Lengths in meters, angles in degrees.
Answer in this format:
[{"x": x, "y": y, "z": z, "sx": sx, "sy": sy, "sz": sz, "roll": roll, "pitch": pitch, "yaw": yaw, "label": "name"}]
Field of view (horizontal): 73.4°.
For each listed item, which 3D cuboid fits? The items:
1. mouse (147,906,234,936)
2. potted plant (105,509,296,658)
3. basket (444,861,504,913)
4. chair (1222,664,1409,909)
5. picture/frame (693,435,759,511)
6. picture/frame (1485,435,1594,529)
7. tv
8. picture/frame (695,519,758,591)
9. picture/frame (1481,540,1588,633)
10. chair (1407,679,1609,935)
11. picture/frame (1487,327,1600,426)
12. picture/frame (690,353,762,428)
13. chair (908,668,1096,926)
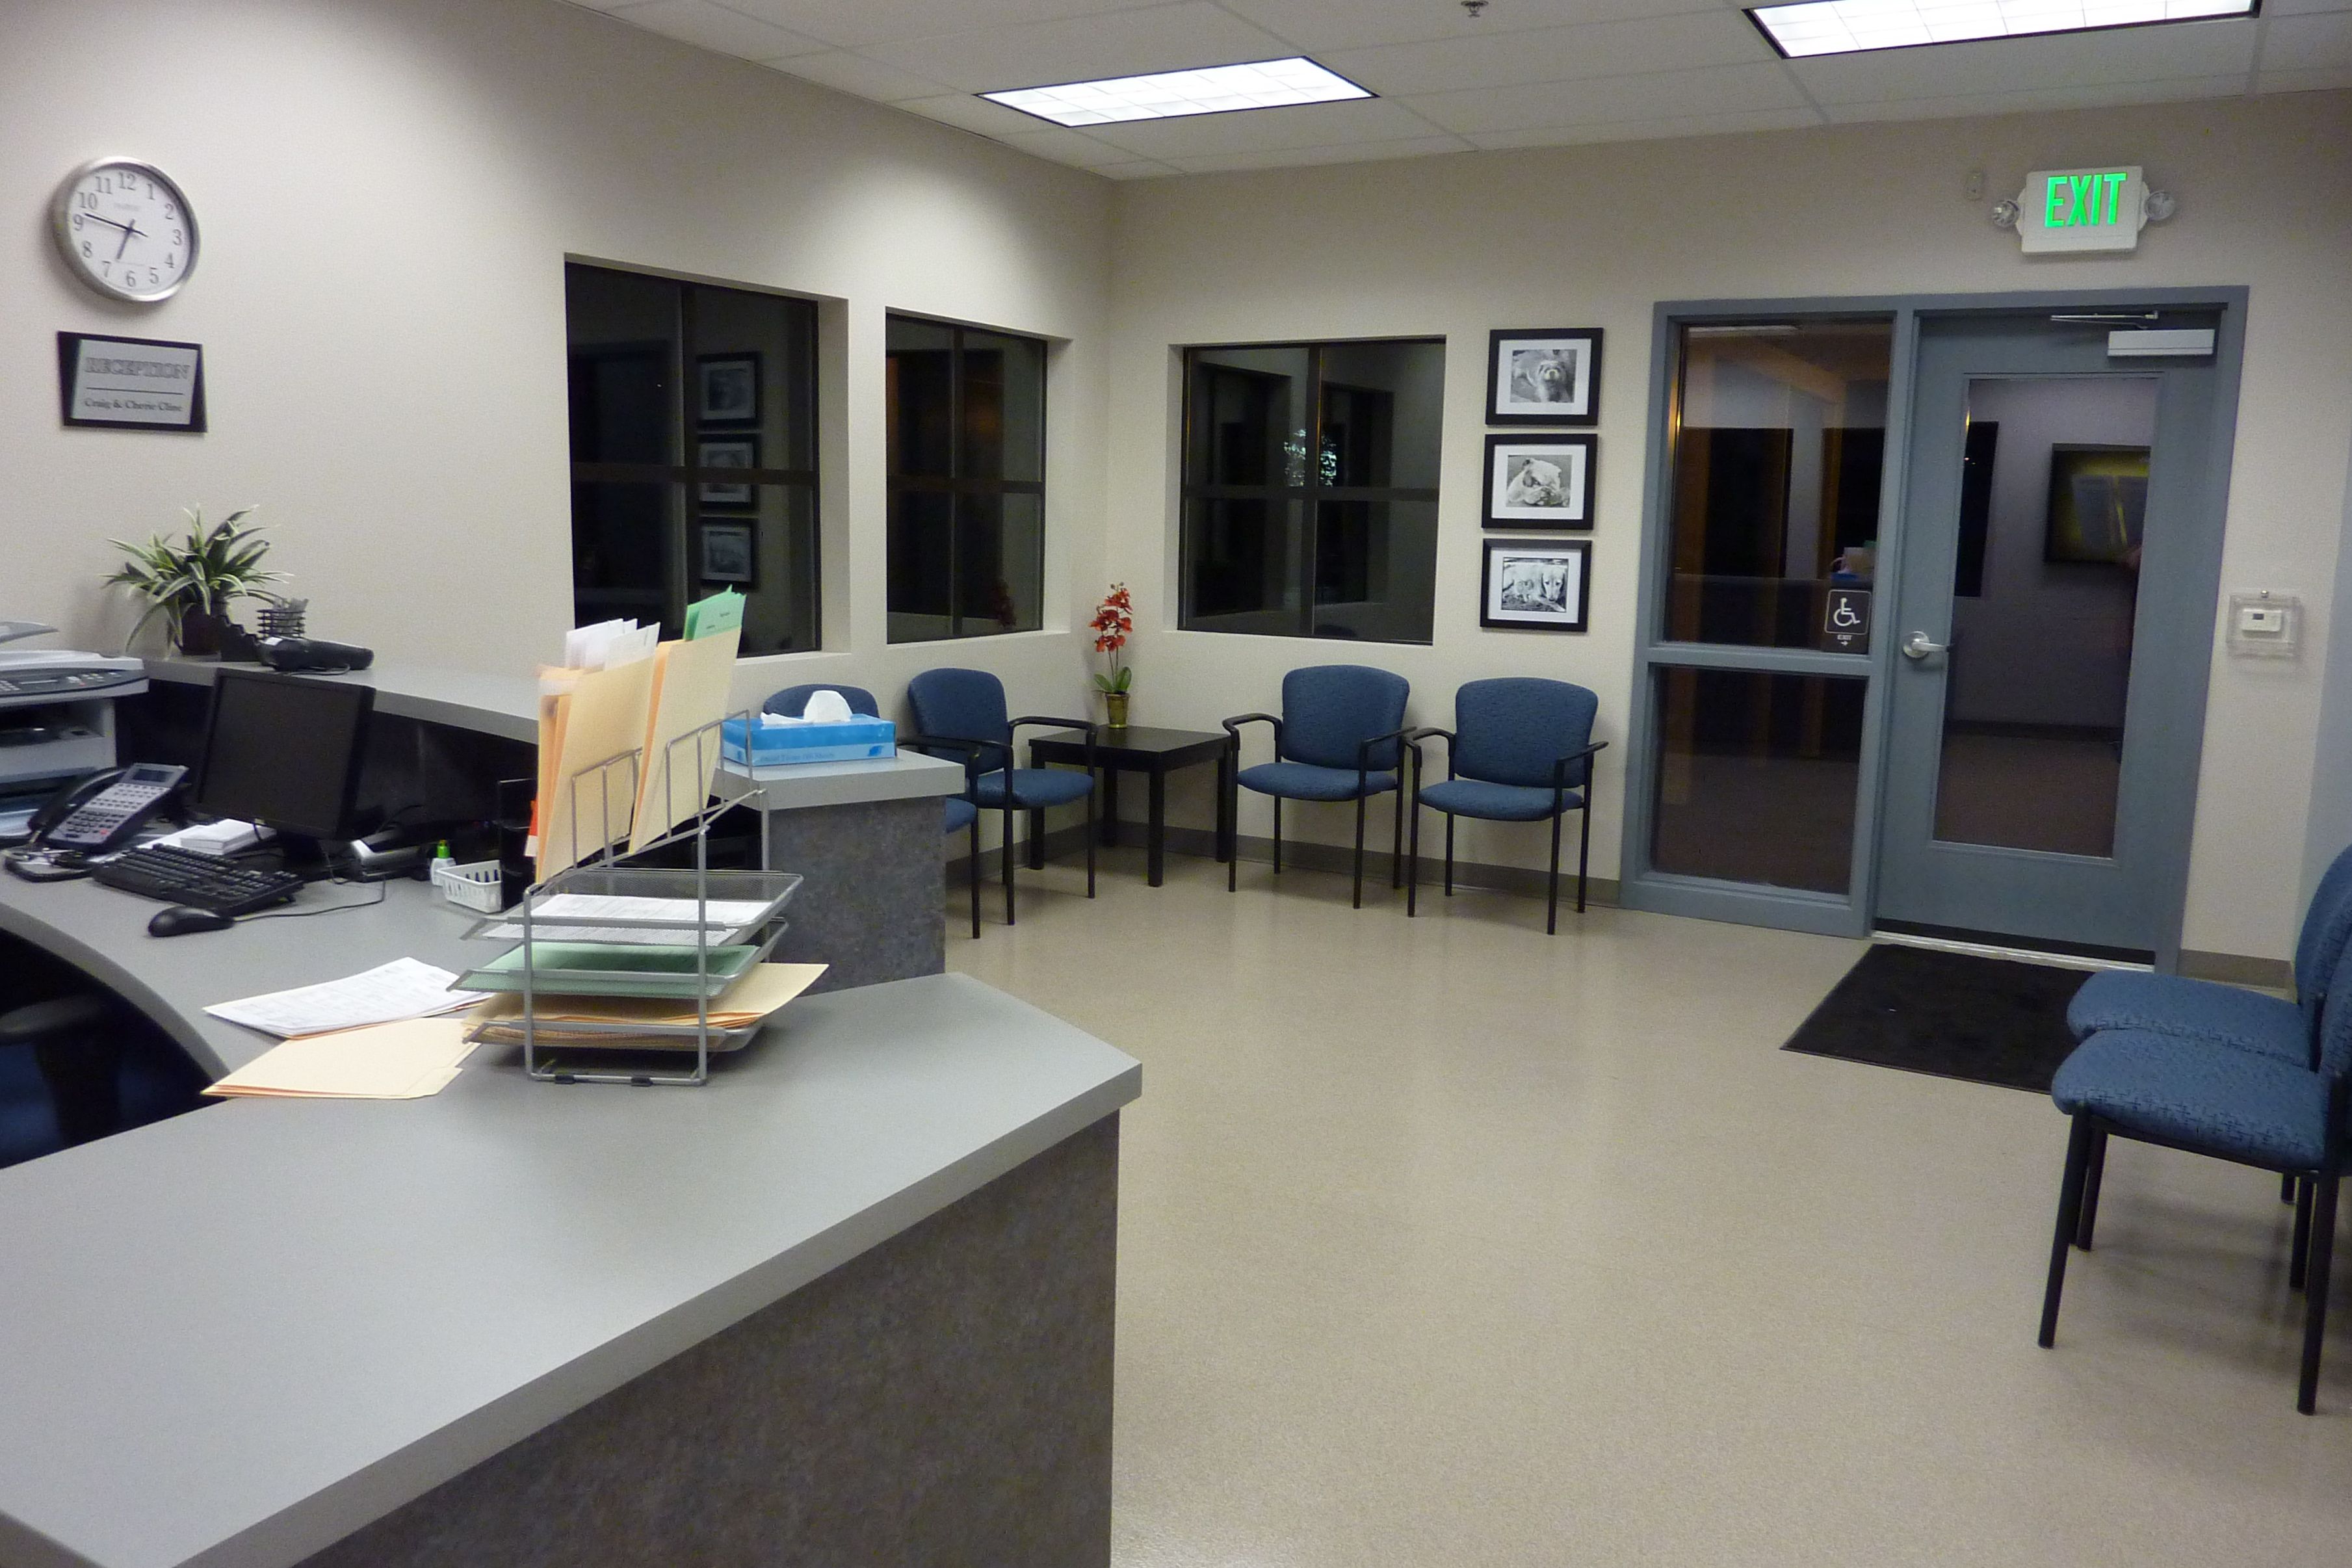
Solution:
[{"x": -2.037, "y": 0.272, "z": 3.258, "sx": 0.064, "sy": 0.038, "sz": 0.113, "roll": 10, "pitch": 12, "yaw": 42, "label": "mouse"}, {"x": -2.627, "y": -0.567, "z": 4.450, "sx": 0.500, "sy": 0.385, "sz": 0.454, "roll": 8, "pitch": 12, "yaw": 25, "label": "potted plant"}, {"x": -1.521, "y": 0.225, "z": 3.424, "sx": 0.134, "sy": 0.047, "sz": 0.101, "roll": 4, "pitch": 7, "yaw": 31, "label": "basket"}, {"x": 0.662, "y": -0.026, "z": 7.035, "sx": 0.702, "sy": 0.987, "sz": 0.627, "roll": 6, "pitch": 10, "yaw": 34, "label": "chair"}, {"x": -1.753, "y": -1.208, "z": 6.111, "sx": 0.022, "sy": 0.330, "sz": 0.322, "roll": 1, "pitch": 3, "yaw": 33, "label": "picture/frame"}, {"x": 1.594, "y": -1.311, "z": 6.815, "sx": 0.386, "sy": 0.348, "sz": 0.033, "roll": 3, "pitch": 4, "yaw": 25, "label": "picture/frame"}, {"x": -2.068, "y": -0.005, "z": 3.667, "sx": 0.433, "sy": 0.328, "sz": 0.130, "roll": 9, "pitch": 4, "yaw": 31, "label": "tv"}, {"x": -1.754, "y": -0.902, "z": 6.191, "sx": 0.068, "sy": 0.251, "sz": 0.299, "roll": 6, "pitch": 12, "yaw": 20, "label": "picture/frame"}, {"x": 1.586, "y": -0.868, "z": 6.881, "sx": 0.377, "sy": 0.369, "sz": 0.031, "roll": 4, "pitch": 5, "yaw": 24, "label": "picture/frame"}, {"x": 1.400, "y": 0.077, "z": 6.739, "sx": 0.756, "sy": 0.987, "sz": 0.629, "roll": 4, "pitch": 11, "yaw": 24, "label": "chair"}, {"x": 1.600, "y": -1.754, "z": 6.761, "sx": 0.410, "sy": 0.379, "sz": 0.033, "roll": 3, "pitch": 5, "yaw": 21, "label": "picture/frame"}, {"x": -1.757, "y": -1.529, "z": 6.119, "sx": 0.024, "sy": 0.337, "sz": 0.340, "roll": 3, "pitch": 4, "yaw": 40, "label": "picture/frame"}, {"x": -0.739, "y": 0.028, "z": 6.746, "sx": 0.714, "sy": 1.005, "sz": 0.643, "roll": 5, "pitch": 12, "yaw": 36, "label": "chair"}]
